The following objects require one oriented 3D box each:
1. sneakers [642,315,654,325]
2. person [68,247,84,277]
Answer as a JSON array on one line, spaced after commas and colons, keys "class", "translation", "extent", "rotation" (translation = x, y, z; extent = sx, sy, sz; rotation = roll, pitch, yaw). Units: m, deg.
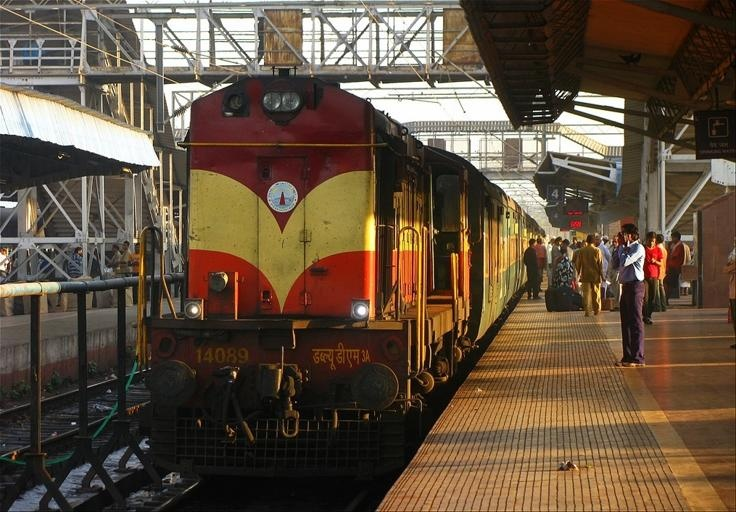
[{"class": "sneakers", "translation": [6.824, 1.578, 22.500], "extent": [0.123, 0.186, 0.408], "rotation": [2, 7, 21]}, {"class": "person", "translation": [-8.976, 0.190, 28.325], "extent": [0.427, 0.924, 1.600], "rotation": [0, -1, -18]}]
